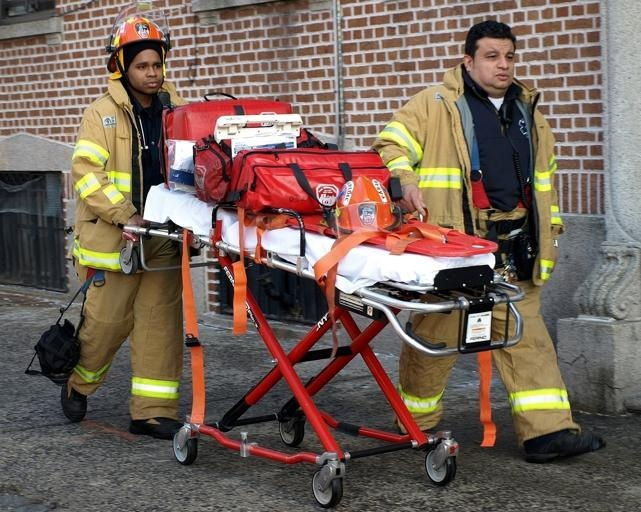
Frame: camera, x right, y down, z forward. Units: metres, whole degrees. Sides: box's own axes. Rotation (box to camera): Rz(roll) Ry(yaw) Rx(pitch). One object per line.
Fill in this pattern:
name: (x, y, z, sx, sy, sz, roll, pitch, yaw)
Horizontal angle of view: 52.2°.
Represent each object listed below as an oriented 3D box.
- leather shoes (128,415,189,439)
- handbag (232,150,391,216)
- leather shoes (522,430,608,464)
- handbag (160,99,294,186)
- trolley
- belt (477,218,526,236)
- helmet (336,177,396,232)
leather shoes: (-0.998, 1.035, 3.999, 0.261, 0.054, 0.177, -1, -1, 21)
handbag: (-0.032, -0.378, 3.060, 0.645, 0.178, 0.379, -5, 22, -19)
leather shoes: (1.324, 0.999, 3.519, 0.399, 0.109, 0.191, -9, 9, -19)
handbag: (-0.470, -0.579, 3.366, 0.762, 0.446, 0.384, -5, 11, -22)
trolley: (-0.131, 0.385, 3.662, 2.698, 1.139, 1.088, 4, 5, 40)
belt: (1.002, -0.149, 3.586, 0.176, 0.122, 0.043, -3, -8, -11)
helmet: (0.210, -0.172, 2.921, 0.291, 0.224, 0.295, -2, -17, -6)
